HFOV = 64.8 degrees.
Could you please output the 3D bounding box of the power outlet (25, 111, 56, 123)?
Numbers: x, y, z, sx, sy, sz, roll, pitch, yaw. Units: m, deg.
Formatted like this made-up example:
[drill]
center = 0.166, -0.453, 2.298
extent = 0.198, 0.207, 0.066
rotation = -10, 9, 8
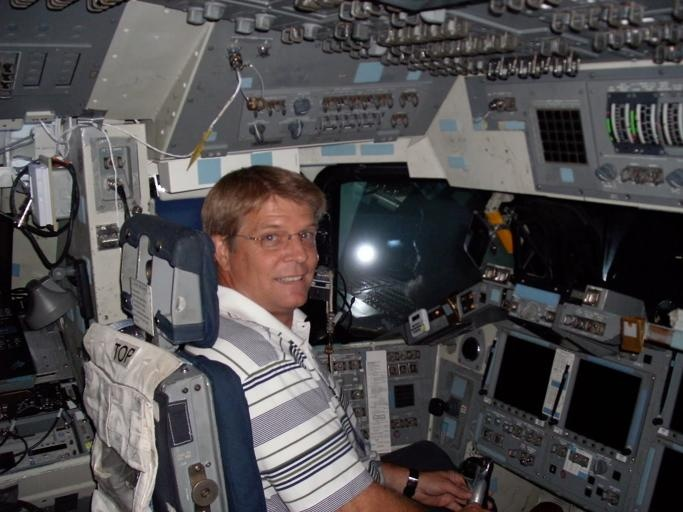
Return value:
[power outlet]
center = -1.595, -0.732, 2.842
extent = 0.083, 0.024, 0.077
rotation = -3, -9, -31
